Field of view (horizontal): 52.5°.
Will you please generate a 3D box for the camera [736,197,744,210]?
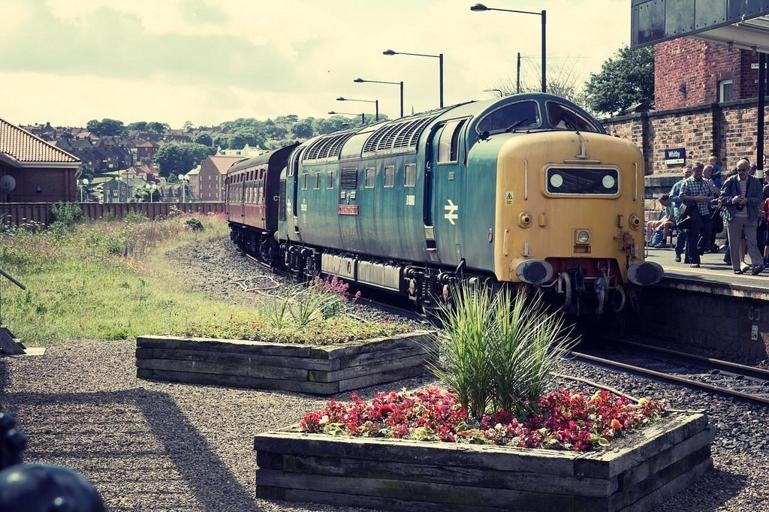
[{"bbox_3d":[7.072,-1.023,15.370,0.156,0.264,0.128,4,12,25],"label":"camera"}]
